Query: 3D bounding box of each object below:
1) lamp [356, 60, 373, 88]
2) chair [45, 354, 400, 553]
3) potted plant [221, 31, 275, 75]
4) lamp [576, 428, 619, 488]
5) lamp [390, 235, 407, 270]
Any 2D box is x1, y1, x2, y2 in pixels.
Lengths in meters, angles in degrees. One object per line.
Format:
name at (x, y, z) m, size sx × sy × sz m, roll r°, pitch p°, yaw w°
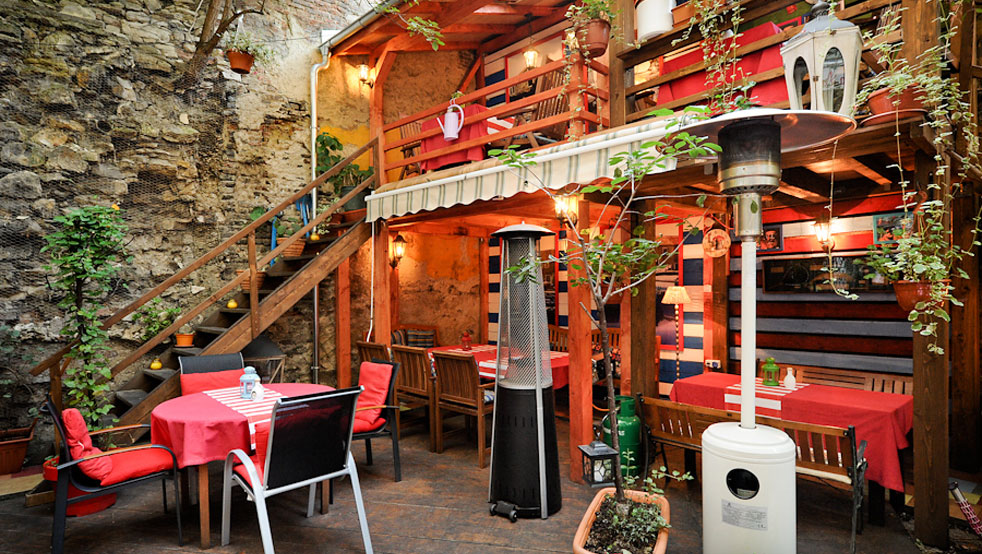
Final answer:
lamp at (-2.465, -3.968, 12.294) m, size 0.199 × 0.497 × 0.675 m, roll 4°, pitch -2°, yaw -24°
chair at (-2.859, 1.979, 7.384) m, size 2.905 × 1.446 × 2.396 m, roll 2°, pitch 0°, yaw 43°
potted plant at (-4.341, -3.937, 10.949) m, size 0.681 × 0.794 × 0.991 m, roll 3°, pitch -1°, yaw -15°
lamp at (1.221, 2.047, 7.128) m, size 0.502 × 0.573 × 0.524 m, roll -1°, pitch 2°, yaw -14°
lamp at (-1.855, -0.493, 12.447) m, size 0.300 × 0.622 × 0.786 m, roll 3°, pitch -1°, yaw -7°
